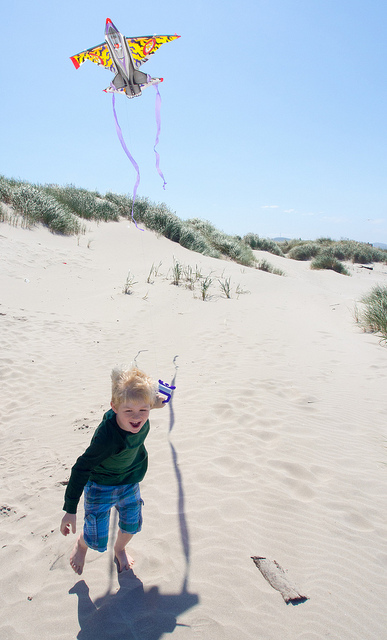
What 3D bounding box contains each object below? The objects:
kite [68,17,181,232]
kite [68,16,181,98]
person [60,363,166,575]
[{"bbox_3d":[-0.631,-2.423,5.871,1.084,2.273,0.137,-15,-11,-4],"label":"kite"},{"bbox_3d":[-0.823,-3.011,5.972,1.054,0.621,0.760,11,18,42],"label":"kite"},{"bbox_3d":[-0.418,0.883,2.708,0.440,1.274,0.509,0,14,6],"label":"person"}]
